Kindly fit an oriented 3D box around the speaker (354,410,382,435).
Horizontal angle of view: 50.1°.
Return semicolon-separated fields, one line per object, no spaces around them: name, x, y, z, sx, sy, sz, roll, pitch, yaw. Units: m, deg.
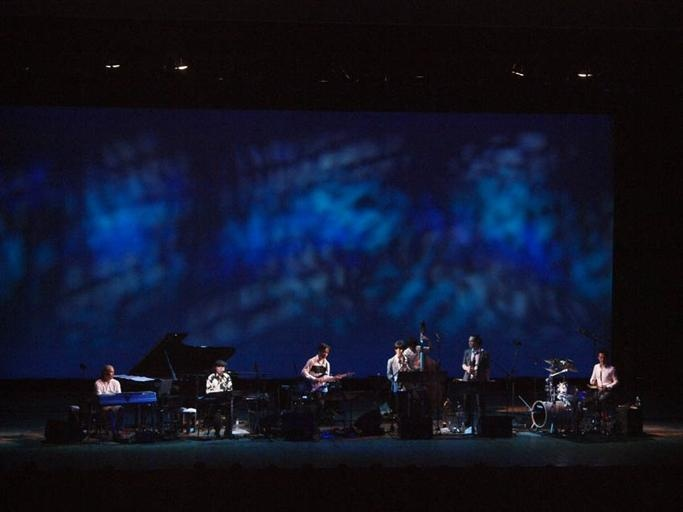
speaker;0.408;2.553;11.190;0.289;0.145;0.393;-5;5;22

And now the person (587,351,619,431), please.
person;4.142;2.112;11.681;0.395;1.213;0.723;-3;-6;24

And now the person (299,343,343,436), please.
person;-0.307;2.038;11.414;0.611;1.367;0.516;3;-3;-6

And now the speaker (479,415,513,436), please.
speaker;2.260;2.507;10.888;0.329;0.218;0.340;-1;-8;0

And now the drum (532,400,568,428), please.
drum;3.239;2.494;11.510;0.173;0.447;0.724;2;-7;-30

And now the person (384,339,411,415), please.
person;0.941;1.910;12.297;0.291;1.188;0.337;4;-3;-3

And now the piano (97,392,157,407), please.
piano;-3.086;2.059;10.622;0.822;0.205;0.441;1;-7;-17

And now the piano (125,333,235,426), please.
piano;-2.562;1.904;11.569;1.175;1.314;1.294;6;-6;-33

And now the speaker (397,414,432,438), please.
speaker;1.072;2.488;10.665;0.504;0.342;0.279;-1;1;-2

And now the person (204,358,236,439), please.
person;-1.815;2.167;11.144;0.423;1.186;0.491;1;-3;41

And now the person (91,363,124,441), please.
person;-3.389;2.135;10.834;0.474;1.153;0.434;2;-2;-44

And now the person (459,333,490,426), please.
person;2.090;1.960;11.404;0.420;1.461;0.981;-2;-6;10
